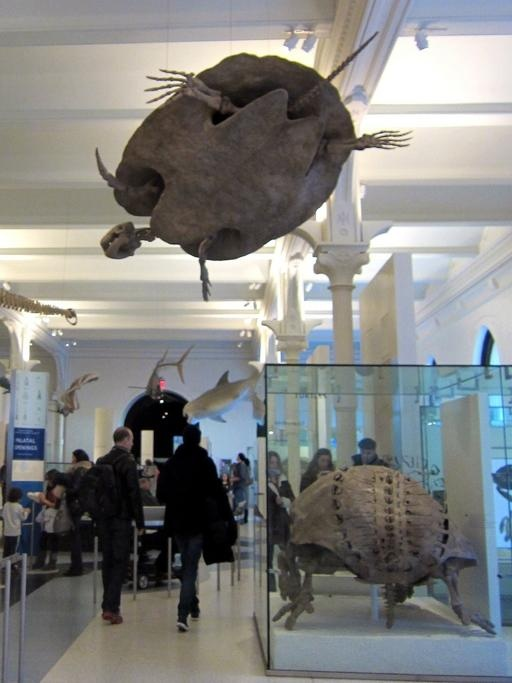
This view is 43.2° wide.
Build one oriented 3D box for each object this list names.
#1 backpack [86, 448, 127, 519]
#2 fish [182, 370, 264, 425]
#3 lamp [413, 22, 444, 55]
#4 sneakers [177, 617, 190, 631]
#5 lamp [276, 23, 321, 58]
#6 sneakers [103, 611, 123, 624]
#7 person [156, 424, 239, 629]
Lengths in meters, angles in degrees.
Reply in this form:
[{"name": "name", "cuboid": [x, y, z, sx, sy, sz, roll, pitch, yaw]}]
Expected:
[{"name": "backpack", "cuboid": [-1.270, 1.226, 5.524, 0.388, 0.565, 0.194, -8, -7, -23]}, {"name": "fish", "cuboid": [-0.589, 0.897, 11.073, 1.555, 0.536, 0.632, -13, -7, 27]}, {"name": "lamp", "cuboid": [1.406, -2.578, 5.510, 0.187, 0.208, 0.061, -19, 4, -3]}, {"name": "sneakers", "cuboid": [-0.581, 2.270, 5.173, 0.060, 0.072, 0.161, 0, -17, 4]}, {"name": "lamp", "cuboid": [0.382, -2.667, 5.705, 0.224, 0.099, 0.281, 1, -9, -3]}, {"name": "sneakers", "cuboid": [-1.228, 2.303, 5.393, 0.082, 0.106, 0.222, -12, -27, 26]}, {"name": "person", "cuboid": [-0.482, 1.495, 5.276, 0.599, 1.609, 0.324, -10, -6, -8]}]
